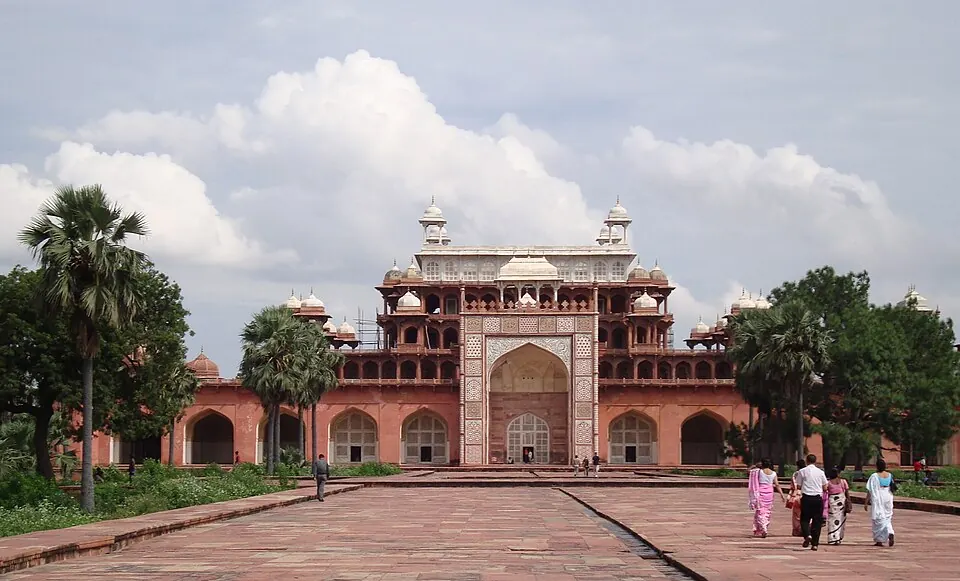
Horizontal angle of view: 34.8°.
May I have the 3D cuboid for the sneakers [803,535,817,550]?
[{"bbox_3d":[10.242,7.919,48.149,0.200,0.255,0.598,-2,-31,4],"label":"sneakers"}]
